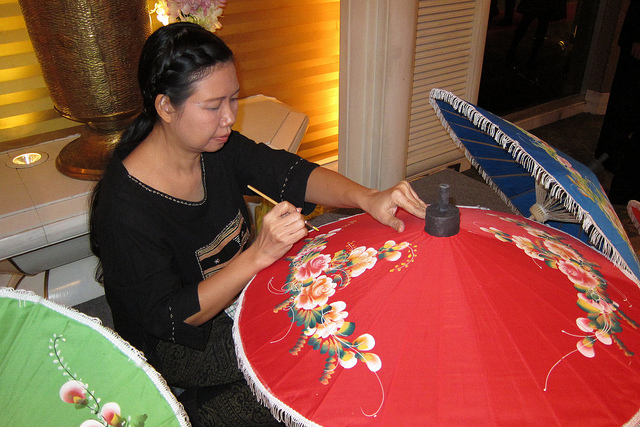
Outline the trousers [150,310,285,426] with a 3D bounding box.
[{"bbox_3d":[-0.380,0.602,1.584,0.319,0.165,0.455,-23,41,-21],"label":"trousers"}]
